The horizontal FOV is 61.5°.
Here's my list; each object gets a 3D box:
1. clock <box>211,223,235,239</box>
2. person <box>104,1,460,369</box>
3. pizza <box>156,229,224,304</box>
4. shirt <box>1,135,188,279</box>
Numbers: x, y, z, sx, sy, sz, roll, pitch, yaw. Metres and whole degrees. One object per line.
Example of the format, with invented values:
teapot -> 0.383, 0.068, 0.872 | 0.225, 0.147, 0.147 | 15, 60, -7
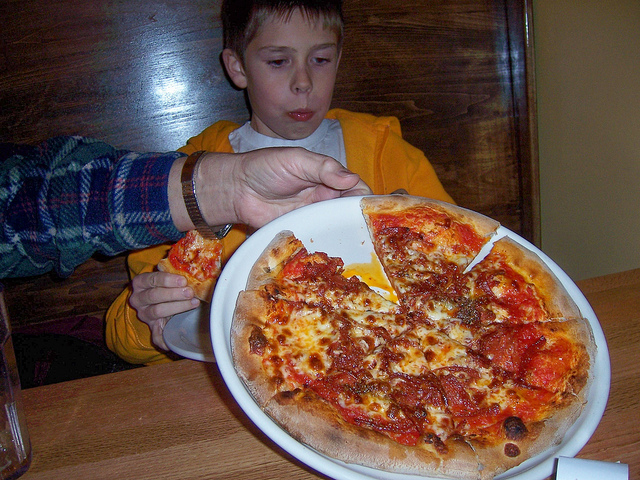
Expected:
clock -> -0.307, -0.030, 1.681 | 0.048, 0.038, 0.017 | -38, 44, -24
person -> -0.184, -0.220, 1.813 | 1.099, 1.235, 0.843 | -15, 41, -14
pizza -> -0.427, 0.057, 1.852 | 0.247, 0.056, 0.244 | -23, 59, -15
shirt -> -0.675, -0.073, 1.631 | 0.582, 0.200, 0.336 | -17, 59, -22
